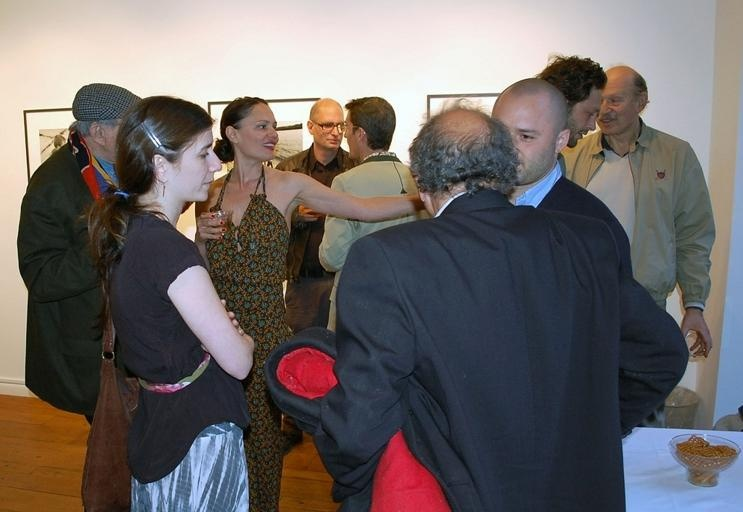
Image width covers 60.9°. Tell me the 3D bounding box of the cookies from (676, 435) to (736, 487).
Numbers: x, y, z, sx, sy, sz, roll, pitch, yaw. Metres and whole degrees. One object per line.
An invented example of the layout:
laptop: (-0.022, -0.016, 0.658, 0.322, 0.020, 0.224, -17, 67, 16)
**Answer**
cookies: (1.441, 0.859, 2.717, 0.210, 0.148, 0.218, -1, 4, 38)

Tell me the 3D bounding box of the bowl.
bowl: (1.442, 0.855, 2.739, 0.214, 0.151, 0.222, -5, 6, 0)

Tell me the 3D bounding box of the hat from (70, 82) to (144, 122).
hat: (-1.440, -0.806, 3.431, 0.348, 0.179, 0.240, -16, 43, -5)

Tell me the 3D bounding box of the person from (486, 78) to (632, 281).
person: (0.866, -0.365, 2.884, 0.434, 0.795, 0.903, -16, 18, -7)
